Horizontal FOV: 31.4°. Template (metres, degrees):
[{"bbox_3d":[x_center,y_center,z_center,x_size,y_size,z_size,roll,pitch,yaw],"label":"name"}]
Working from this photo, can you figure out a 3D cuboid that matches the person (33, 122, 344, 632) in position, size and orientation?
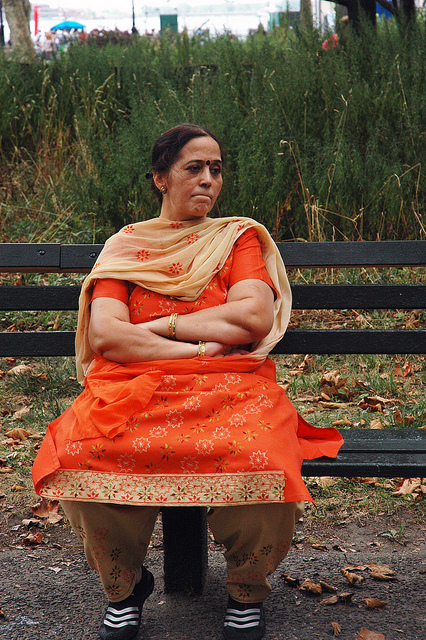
[{"bbox_3d":[-0.143,0.147,2.579,0.852,1.590,0.792,-5,11,5],"label":"person"}]

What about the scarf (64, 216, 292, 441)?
[{"bbox_3d":[-0.140,0.053,2.664,0.825,0.857,0.568,-1,2,-15],"label":"scarf"}]

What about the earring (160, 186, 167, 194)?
[{"bbox_3d":[-0.185,-0.486,2.841,0.013,0.029,0.036,-11,11,-24],"label":"earring"}]

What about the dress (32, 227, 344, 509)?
[{"bbox_3d":[-0.082,0.131,2.528,0.987,0.762,0.699,0,20,6],"label":"dress"}]
